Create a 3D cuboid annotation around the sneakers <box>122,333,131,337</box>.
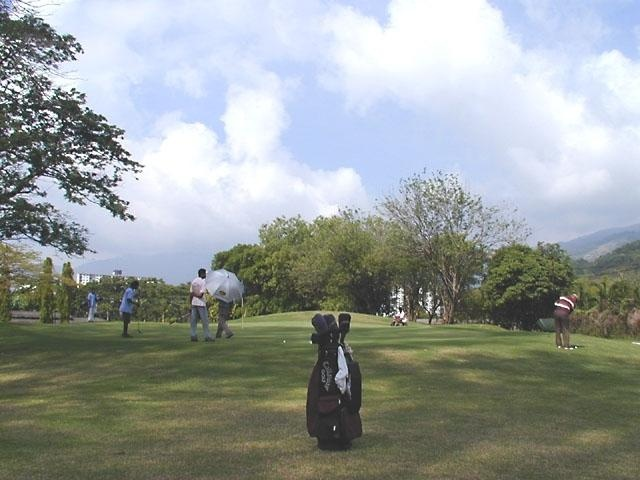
[{"bbox_3d":[-7.868,3.859,19.826,0.229,0.122,0.177,4,-3,38],"label":"sneakers"}]
